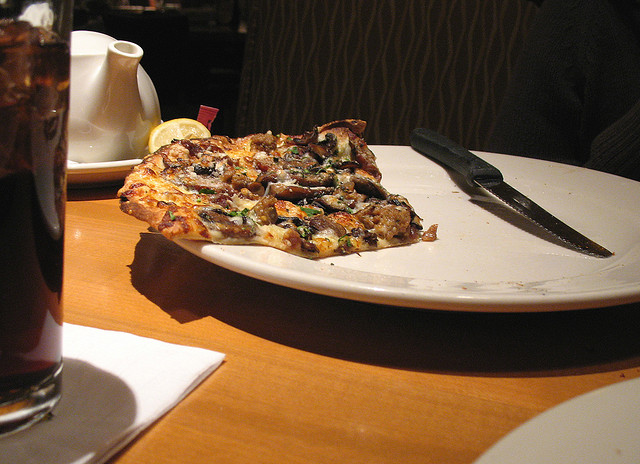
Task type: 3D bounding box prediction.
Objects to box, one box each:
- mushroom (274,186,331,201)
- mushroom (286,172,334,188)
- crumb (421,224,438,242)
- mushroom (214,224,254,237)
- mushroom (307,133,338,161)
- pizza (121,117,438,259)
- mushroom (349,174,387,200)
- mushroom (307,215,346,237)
[{"bbox_3d":[-0.045,-0.083,1.176,0.109,0.026,0.018,-2,25,-26],"label":"mushroom"},{"bbox_3d":[-0.011,-0.117,1.253,0.072,0.017,0.046,5,-2,0],"label":"mushroom"},{"bbox_3d":[0.209,0.003,1.055,0.024,0.008,0.040,10,30,33],"label":"crumb"},{"bbox_3d":[-0.136,-0.003,0.879,0.063,0.017,0.030,-10,26,-43],"label":"mushroom"},{"bbox_3d":[0.012,-0.214,1.415,0.083,0.022,0.076,22,45,29],"label":"mushroom"},{"bbox_3d":[-0.097,-0.079,1.108,0.469,0.051,0.451,11,19,21],"label":"pizza"},{"bbox_3d":[0.108,-0.101,1.250,0.072,0.016,0.054,35,4,19],"label":"mushroom"},{"bbox_3d":[0.006,-0.011,1.012,0.046,0.011,0.046,-8,17,-34],"label":"mushroom"}]
